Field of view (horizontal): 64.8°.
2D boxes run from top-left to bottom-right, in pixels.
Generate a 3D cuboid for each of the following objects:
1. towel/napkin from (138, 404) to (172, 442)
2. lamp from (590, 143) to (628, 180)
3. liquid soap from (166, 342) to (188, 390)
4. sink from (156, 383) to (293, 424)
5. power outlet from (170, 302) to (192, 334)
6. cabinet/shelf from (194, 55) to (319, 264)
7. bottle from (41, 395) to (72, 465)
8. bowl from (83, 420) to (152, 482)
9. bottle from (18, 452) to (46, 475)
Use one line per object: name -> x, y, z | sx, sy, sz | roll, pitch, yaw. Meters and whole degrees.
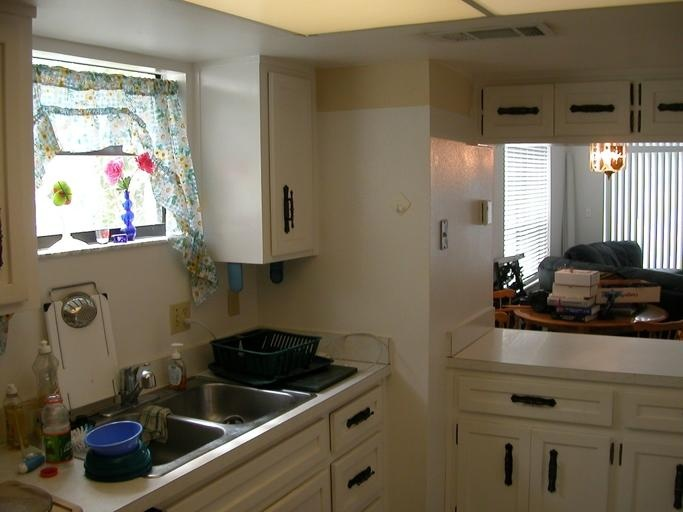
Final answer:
towel/napkin -> -0.747, 0.658, 2.147 | 0.125, 0.134, 0.047 | 7, -12, 5
lamp -> 2.902, -1.048, 5.908 | 0.325, 0.341, 0.483 | 3, 8, 23
liquid soap -> -0.779, 0.500, 2.542 | 0.086, 0.213, 0.190 | -2, 7, -16
sink -> -0.572, 0.608, 2.424 | 0.295, 0.082, 0.301 | 8, 9, 34
power outlet -> -0.792, 0.299, 2.628 | 0.016, 0.160, 0.155 | 0, 2, 27
cabinet/shelf -> -0.397, -0.458, 2.621 | 0.584, 0.957, 0.275 | -2, 7, -15
bottle -> -1.001, 0.599, 1.887 | 0.086, 0.217, 0.144 | -4, 8, -31
bowl -> -0.765, 0.644, 1.811 | 0.176, 0.114, 0.179 | 0, 9, 0
bottle -> -1.065, 0.702, 1.839 | 0.038, 0.034, 0.077 | -1, 16, 0
